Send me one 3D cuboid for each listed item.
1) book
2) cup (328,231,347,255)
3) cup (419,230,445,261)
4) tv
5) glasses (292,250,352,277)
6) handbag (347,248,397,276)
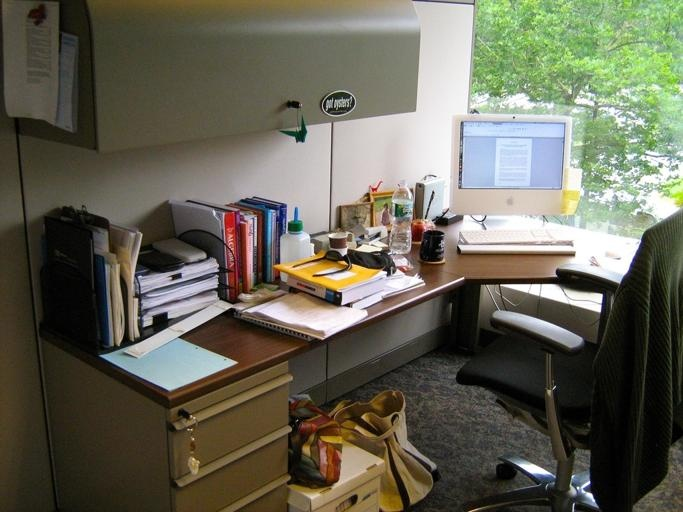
[{"bbox_3d":[-0.669,0.007,1.986,0.381,0.332,0.594,17,22,32],"label":"book"},{"bbox_3d":[-0.017,-0.057,2.263,0.078,0.088,0.087,-7,21,-11],"label":"cup"},{"bbox_3d":[0.398,-0.052,2.463,0.086,0.121,0.138,18,28,37],"label":"cup"},{"bbox_3d":[0.874,-0.445,2.866,0.594,0.525,0.196,0,17,-1],"label":"tv"},{"bbox_3d":[-0.045,0.037,2.123,0.143,0.040,0.125,-28,35,-30],"label":"glasses"},{"bbox_3d":[0.112,0.000,2.189,0.140,0.053,0.112,20,25,31],"label":"handbag"}]
